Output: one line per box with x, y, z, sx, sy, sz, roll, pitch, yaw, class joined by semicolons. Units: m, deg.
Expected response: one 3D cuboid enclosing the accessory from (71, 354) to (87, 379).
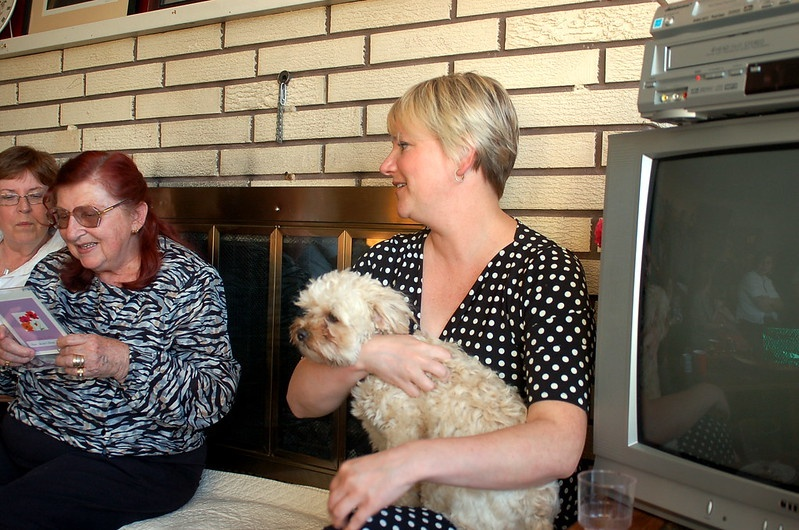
-1.043;0.331;1.946;0.038;0.079;0.016;-1;8;-24;accessory

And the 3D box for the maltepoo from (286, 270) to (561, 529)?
0.194;0.272;2.081;0.990;0.919;0.504;13;22;36;maltepoo

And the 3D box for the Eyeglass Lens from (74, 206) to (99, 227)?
-1.118;-0.172;2.136;0.079;0.031;0.076;8;-4;-1;Eyeglass Lens
